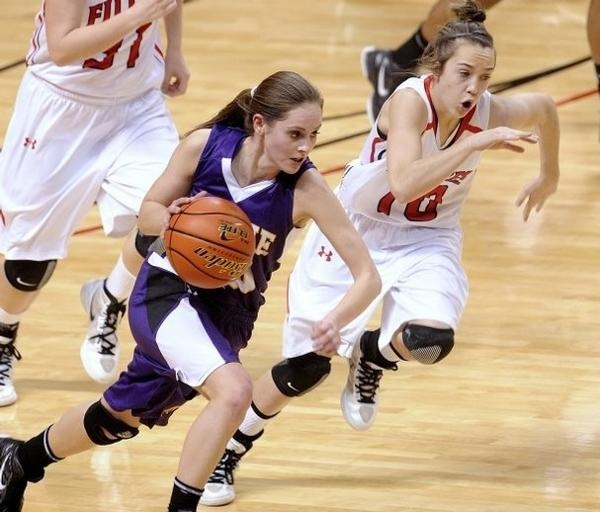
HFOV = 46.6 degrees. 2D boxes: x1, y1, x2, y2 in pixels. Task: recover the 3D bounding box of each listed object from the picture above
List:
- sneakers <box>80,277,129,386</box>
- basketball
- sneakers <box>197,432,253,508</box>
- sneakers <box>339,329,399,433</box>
[{"bbox_3d":[-0.736,0.274,2.568,0.170,0.389,0.207,11,-28,-40],"label":"sneakers"},{"bbox_3d":[-0.185,-0.035,1.563,0.267,0.186,0.216,0,2,-5],"label":"basketball"},{"bbox_3d":[-0.198,0.601,2.002,0.085,0.100,0.232,34,37,8],"label":"sneakers"},{"bbox_3d":[0.208,0.402,2.245,0.152,0.337,0.183,12,-7,-22],"label":"sneakers"}]
